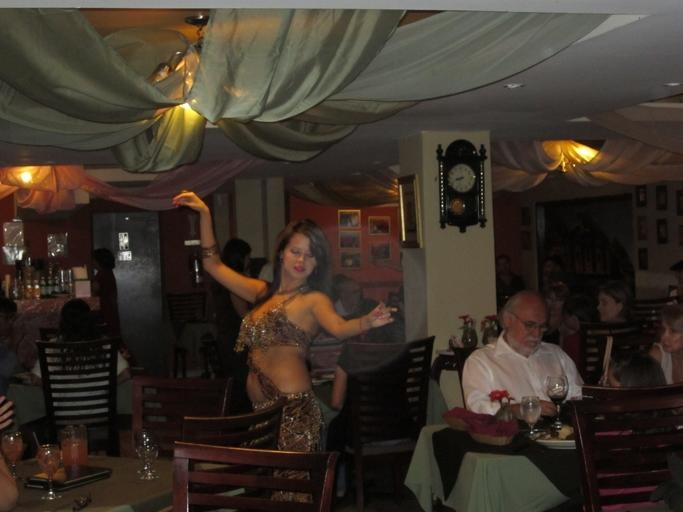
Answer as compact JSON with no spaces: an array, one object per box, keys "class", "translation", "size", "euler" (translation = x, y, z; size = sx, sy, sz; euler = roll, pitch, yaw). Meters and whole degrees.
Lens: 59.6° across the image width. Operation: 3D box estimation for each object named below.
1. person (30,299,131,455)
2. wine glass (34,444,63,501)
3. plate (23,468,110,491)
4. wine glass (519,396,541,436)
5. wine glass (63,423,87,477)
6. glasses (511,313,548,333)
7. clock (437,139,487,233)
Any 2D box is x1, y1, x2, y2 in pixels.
[{"class":"person","translation":[-1.936,1.028,4.488],"size":[0.649,0.932,0.677],"euler":[-3,6,-35]},{"class":"wine glass","translation":[-1.239,0.900,2.524],"size":[0.090,0.199,0.234],"euler":[-3,-3,-27]},{"class":"plate","translation":[-1.171,0.964,2.594],"size":[0.147,0.030,0.141],"euler":[-1,-3,42]},{"class":"wine glass","translation":[0.927,0.787,2.916],"size":[0.095,0.192,0.090],"euler":[-4,3,13]},{"class":"wine glass","translation":[-1.234,0.875,2.754],"size":[0.106,0.184,0.105],"euler":[-7,2,-19]},{"class":"glasses","translation":[1.077,0.348,3.358],"size":[0.119,0.037,0.124],"euler":[11,17,-30]},{"class":"clock","translation":[1.181,-0.681,5.843],"size":[0.491,0.773,0.140],"euler":[-3,-2,-12]}]
